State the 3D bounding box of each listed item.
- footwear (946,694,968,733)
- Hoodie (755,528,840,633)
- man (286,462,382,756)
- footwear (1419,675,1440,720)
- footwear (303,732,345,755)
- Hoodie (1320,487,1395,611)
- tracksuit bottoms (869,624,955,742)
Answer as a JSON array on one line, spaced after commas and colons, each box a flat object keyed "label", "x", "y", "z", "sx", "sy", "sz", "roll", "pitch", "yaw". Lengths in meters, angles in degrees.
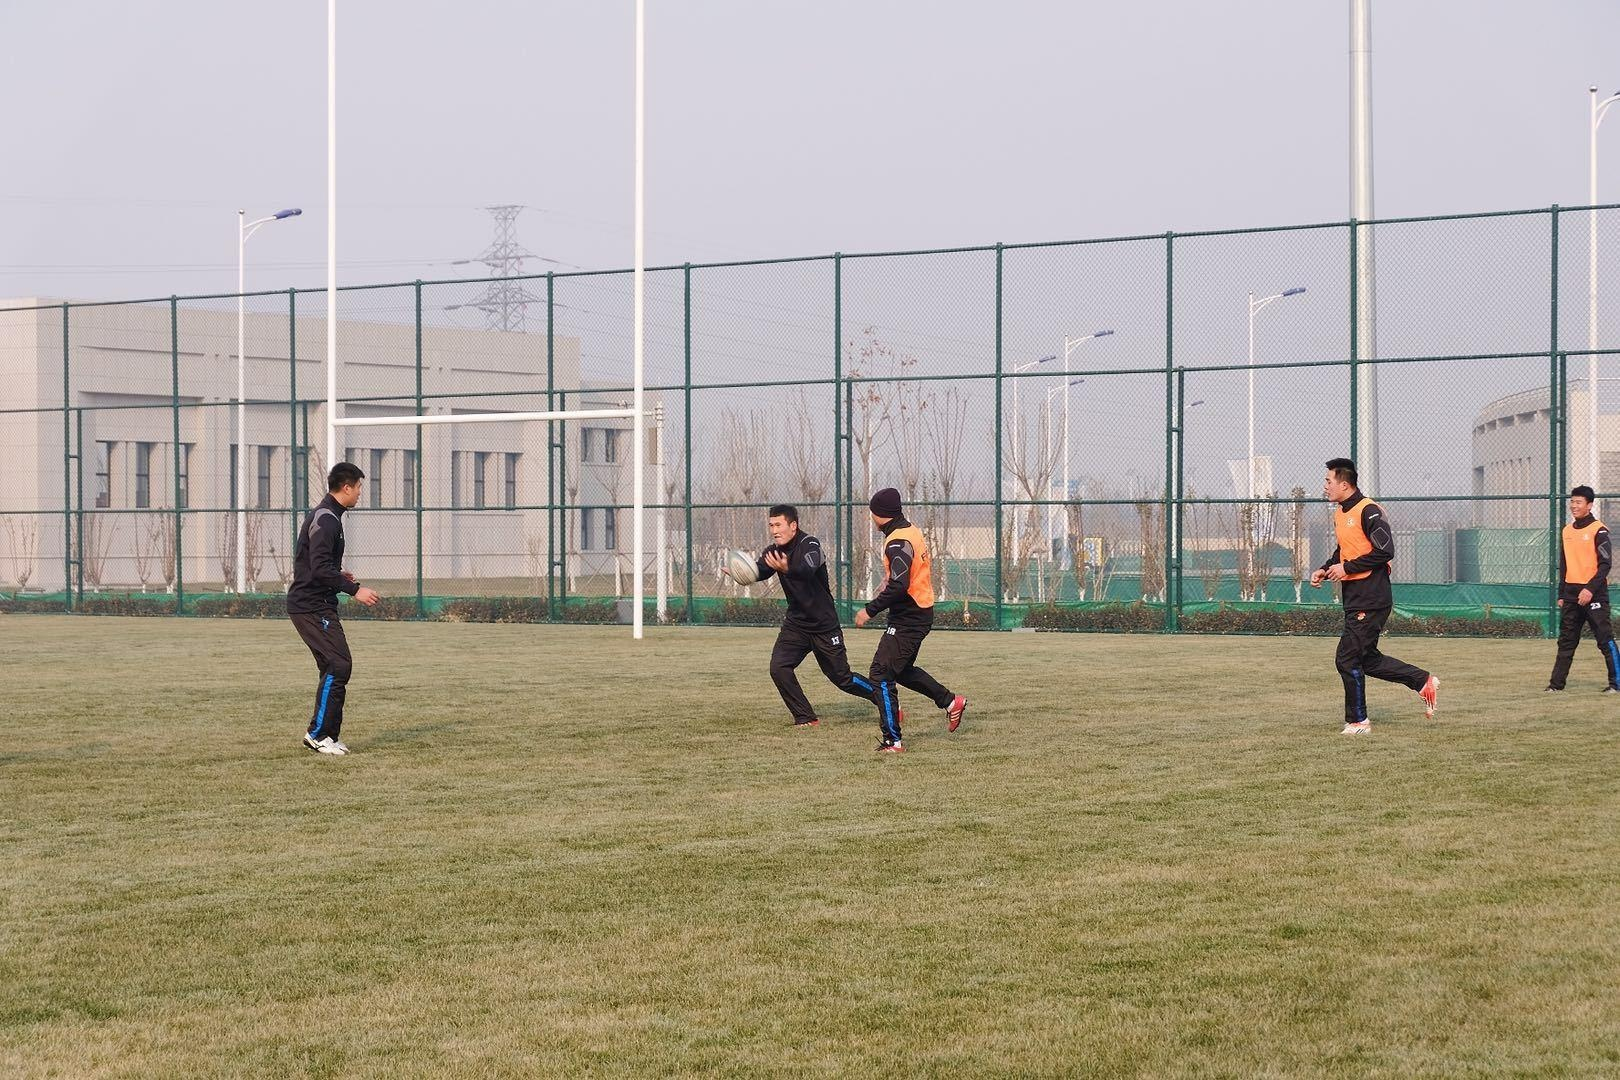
[{"label": "footwear", "x": 1.262, "y": 1.486, "z": 18.082, "sx": 0.183, "sy": 0.350, "sz": 0.126, "roll": -1, "pitch": 22, "yaw": -10}, {"label": "Hoodie", "x": -0.109, "y": 0.364, "z": 18.244, "sx": 0.694, "sy": 0.892, "sz": 0.405, "roll": -1, "pitch": 13, "yaw": 0}, {"label": "man", "x": -3.957, "y": 0.577, "z": 17.341, "sx": 0.709, "sy": 2.414, "sz": 1.560, "roll": -4, "pitch": 13, "yaw": -13}, {"label": "footwear", "x": 5.486, "y": 1.412, "z": 18.647, "sx": 0.194, "sy": 0.374, "sz": 0.136, "roll": -6, "pitch": 21, "yaw": 3}, {"label": "footwear", "x": -3.965, "y": 1.654, "z": 17.193, "sx": 0.391, "sy": 0.159, "sz": 0.141, "roll": 7, "pitch": 6, "yaw": 18}, {"label": "Hoodie", "x": 4.676, "y": 0.094, "z": 17.907, "sx": 0.562, "sy": 0.982, "sz": 0.398, "roll": 4, "pitch": 14, "yaw": 20}, {"label": "tracksuit bottoms", "x": 0.815, "y": 1.189, "z": 17.623, "sx": 0.604, "sy": 0.910, "sz": 1.216, "roll": 3, "pitch": 13, "yaw": 15}]
